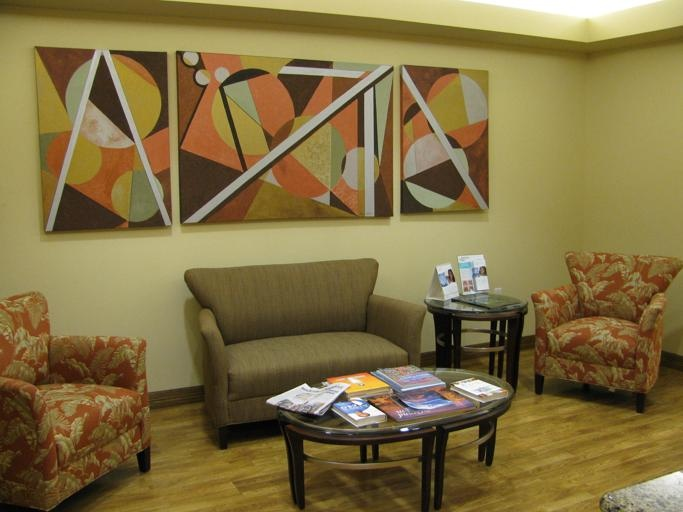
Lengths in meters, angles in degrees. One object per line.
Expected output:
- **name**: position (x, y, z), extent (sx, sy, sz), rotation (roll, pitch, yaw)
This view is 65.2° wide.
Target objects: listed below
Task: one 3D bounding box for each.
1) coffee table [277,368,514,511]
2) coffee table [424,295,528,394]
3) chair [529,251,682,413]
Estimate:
- **coffee table**: position (0.360, 1.130, 3.123), extent (1.349, 0.620, 0.573), rotation (-6, 12, -26)
- **coffee table**: position (1.180, 0.677, 4.715), extent (0.876, 0.924, 0.856), rotation (-2, 5, -22)
- **chair**: position (2.226, 0.575, 4.558), extent (1.030, 1.112, 0.932), rotation (6, 13, 32)
